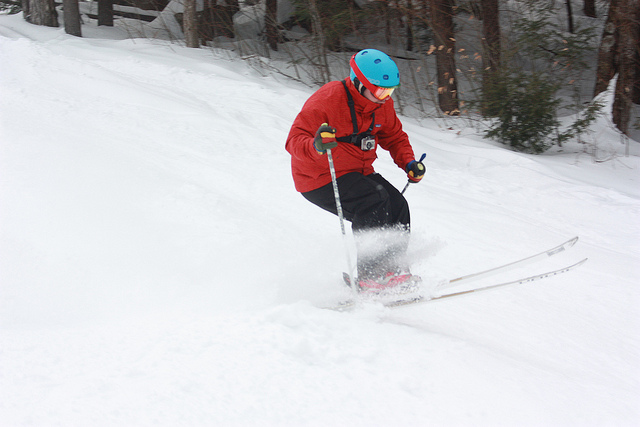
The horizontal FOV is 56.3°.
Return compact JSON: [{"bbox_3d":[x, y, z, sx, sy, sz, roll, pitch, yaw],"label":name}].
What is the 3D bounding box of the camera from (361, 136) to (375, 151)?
[{"bbox_3d":[0.529,-0.795,6.700,0.217,0.143,0.094,-7,20,-34],"label":"camera"}]
